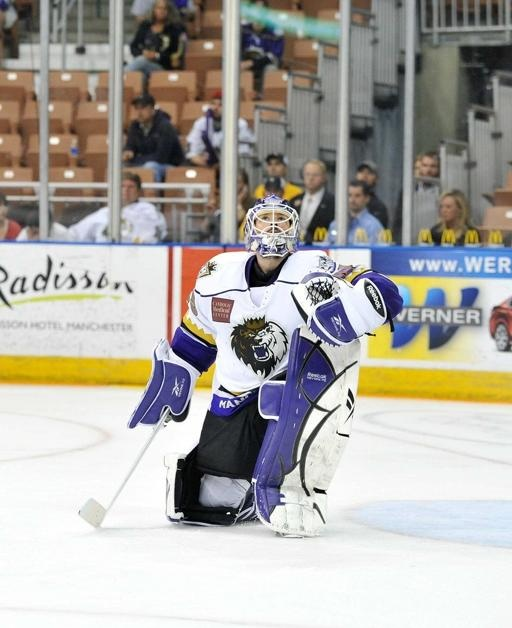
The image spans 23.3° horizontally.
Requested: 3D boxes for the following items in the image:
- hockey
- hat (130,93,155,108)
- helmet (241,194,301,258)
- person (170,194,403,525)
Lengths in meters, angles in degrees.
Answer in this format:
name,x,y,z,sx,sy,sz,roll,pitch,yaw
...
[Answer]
name,x,y,z,sx,sy,sz,roll,pitch,yaw
hockey,-0.463,0.529,4.511,0.288,0.368,0.753,2,5,0
hat,-0.714,-1.365,7.919,0.078,0.059,0.102,2,8,37
helmet,0.045,-0.309,4.297,0.148,0.208,0.221,-1,-3,2
person,0.055,0.163,4.332,0.470,1.132,0.818,-2,6,-44
